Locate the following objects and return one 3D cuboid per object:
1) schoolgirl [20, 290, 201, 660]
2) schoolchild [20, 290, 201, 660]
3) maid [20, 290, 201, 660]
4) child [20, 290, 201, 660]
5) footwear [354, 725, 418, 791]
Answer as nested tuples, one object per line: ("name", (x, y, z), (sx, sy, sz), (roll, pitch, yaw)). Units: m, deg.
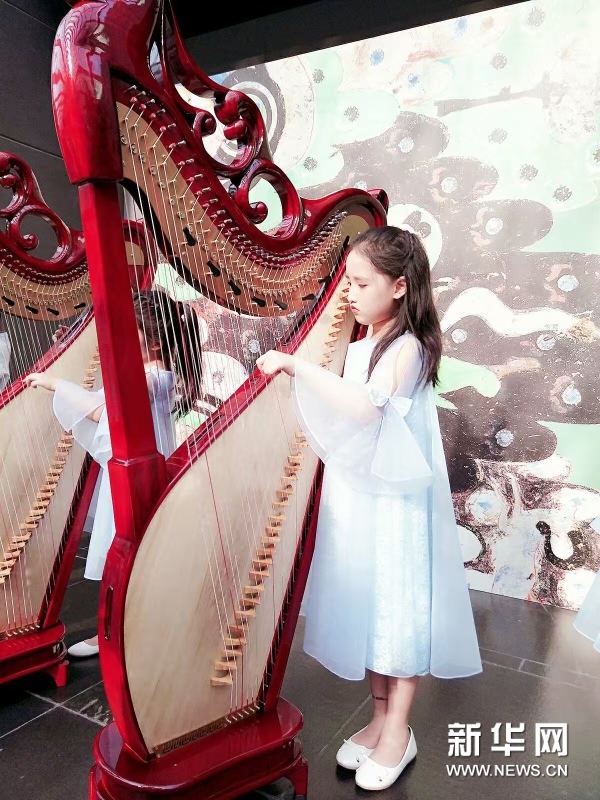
("schoolgirl", (-0.576, 0.205, 1.941), (0.455, 1.039, 0.310), (2, 12, -22))
("schoolchild", (-0.558, 0.197, 1.961), (0.453, 1.076, 0.312), (7, 17, -8))
("maid", (-0.555, 0.200, 1.935), (0.427, 1.042, 0.297), (4, 11, -10))
("child", (-0.585, 0.194, 1.934), (0.455, 1.051, 0.288), (0, 9, -23))
("footwear", (0.219, 0.889, 1.595), (0.070, 0.064, 0.147), (-3, -8, 41))
